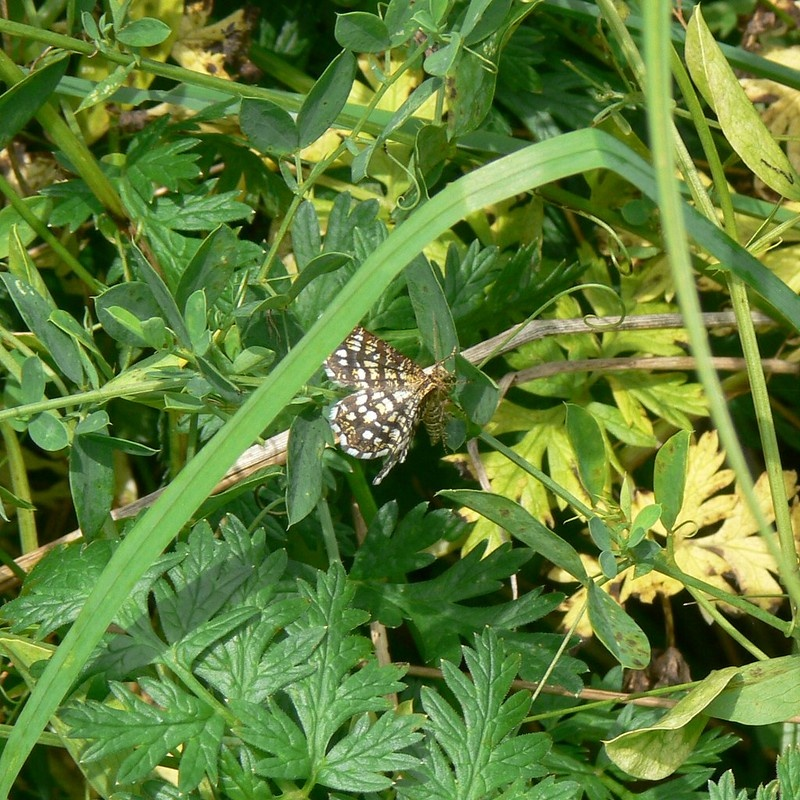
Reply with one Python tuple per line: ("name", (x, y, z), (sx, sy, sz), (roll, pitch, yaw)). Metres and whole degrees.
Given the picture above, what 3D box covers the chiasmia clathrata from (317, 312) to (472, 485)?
("chiasmia clathrata", (-0.013, -0.011, 1.318), (0.171, 0.206, 0.292), (34, 44, 25))
